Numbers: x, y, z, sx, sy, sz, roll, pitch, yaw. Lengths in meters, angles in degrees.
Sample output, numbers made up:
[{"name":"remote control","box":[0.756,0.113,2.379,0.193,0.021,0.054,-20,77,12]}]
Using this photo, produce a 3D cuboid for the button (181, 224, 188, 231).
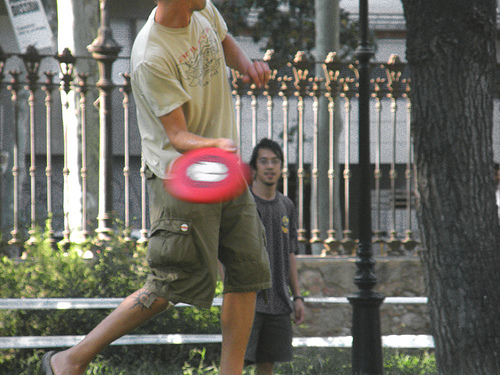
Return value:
[{"name":"button","box":[-0.626,0.406,17.376,0.072,0.075,0.017,0,0,-2]}]
